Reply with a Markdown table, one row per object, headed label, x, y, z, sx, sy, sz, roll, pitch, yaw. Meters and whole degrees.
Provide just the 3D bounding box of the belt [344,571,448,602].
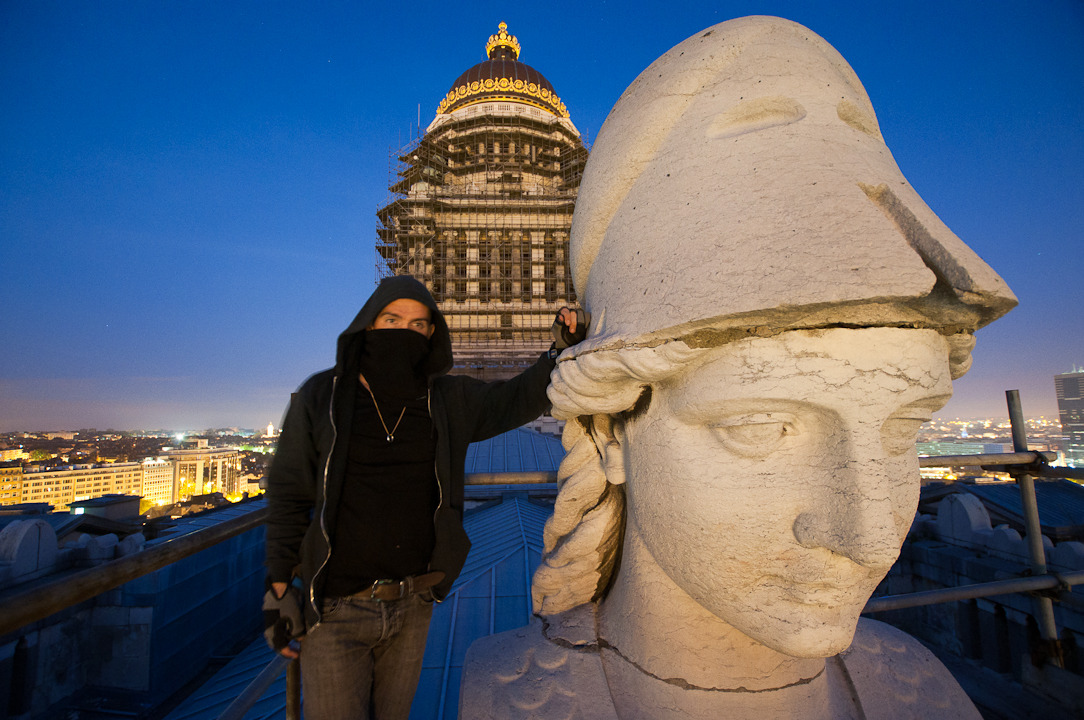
| label | x | y | z | sx | sy | sz | roll | pitch | yaw |
| --- | --- | --- | --- | --- | --- | --- | --- | --- | --- |
| belt | -1.115 | 1.888 | 7.832 | 0.467 | 0.143 | 0.344 | -7 | -10 | 3 |
